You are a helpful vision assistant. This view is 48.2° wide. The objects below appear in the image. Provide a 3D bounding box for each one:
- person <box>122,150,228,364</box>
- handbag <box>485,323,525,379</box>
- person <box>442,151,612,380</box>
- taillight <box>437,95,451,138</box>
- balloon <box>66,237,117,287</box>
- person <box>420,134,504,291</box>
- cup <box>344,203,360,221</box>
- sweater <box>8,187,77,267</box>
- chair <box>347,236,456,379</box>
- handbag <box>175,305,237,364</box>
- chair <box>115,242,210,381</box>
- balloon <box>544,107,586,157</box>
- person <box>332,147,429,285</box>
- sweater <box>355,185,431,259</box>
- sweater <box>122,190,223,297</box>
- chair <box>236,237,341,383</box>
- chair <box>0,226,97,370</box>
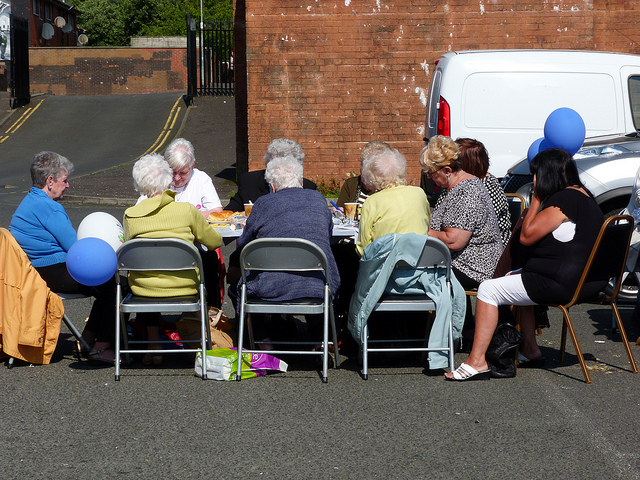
[{"bbox_3d":[-1.185,0.096,6.741,0.787,1.812,0.987,2,18,15],"label":"person"},{"bbox_3d":[1.716,0.956,6.273,0.224,0.372,0.292,17,1,35],"label":"handbag"},{"bbox_3d":[1.847,0.227,6.170,1.186,1.921,0.382,-1,12,-3],"label":"person"},{"bbox_3d":[1.913,-1.929,11.103,0.108,0.605,0.331,-7,14,-31],"label":"taillight"},{"bbox_3d":[-1.953,0.184,6.211,0.329,0.433,0.359,-12,16,25],"label":"balloon"},{"bbox_3d":[1.244,-0.249,6.797,0.855,1.403,0.946,-3,7,-6],"label":"person"},{"bbox_3d":[0.315,-0.284,7.220,0.148,0.215,0.151,1,10,0],"label":"cup"},{"bbox_3d":[-2.547,-0.108,6.550,0.647,0.699,0.282,0,12,2],"label":"sweater"},{"bbox_3d":[0.760,0.535,6.691,1.019,1.630,1.134,0,6,2],"label":"chair"},{"bbox_3d":[-1.105,0.960,6.944,0.515,0.616,0.465,-8,-12,1],"label":"handbag"},{"bbox_3d":[-1.364,0.551,6.032,0.945,1.230,0.950,-5,-5,29],"label":"chair"},{"bbox_3d":[2.815,-1.228,8.263,0.465,0.657,0.508,-1,-7,6],"label":"balloon"},{"bbox_3d":[0.641,-0.213,6.693,0.655,1.453,0.765,-14,38,-13],"label":"person"},{"bbox_3d":[0.683,-0.184,6.474,0.677,0.780,0.436,-14,30,-11],"label":"sweater"},{"bbox_3d":[-1.388,-0.006,6.496,0.924,0.992,0.616,-6,22,-9],"label":"sweater"},{"bbox_3d":[-0.281,0.524,6.463,0.911,1.280,0.985,0,13,-1],"label":"chair"},{"bbox_3d":[-2.533,0.482,7.061,1.072,1.726,0.947,-2,1,-6],"label":"chair"}]
